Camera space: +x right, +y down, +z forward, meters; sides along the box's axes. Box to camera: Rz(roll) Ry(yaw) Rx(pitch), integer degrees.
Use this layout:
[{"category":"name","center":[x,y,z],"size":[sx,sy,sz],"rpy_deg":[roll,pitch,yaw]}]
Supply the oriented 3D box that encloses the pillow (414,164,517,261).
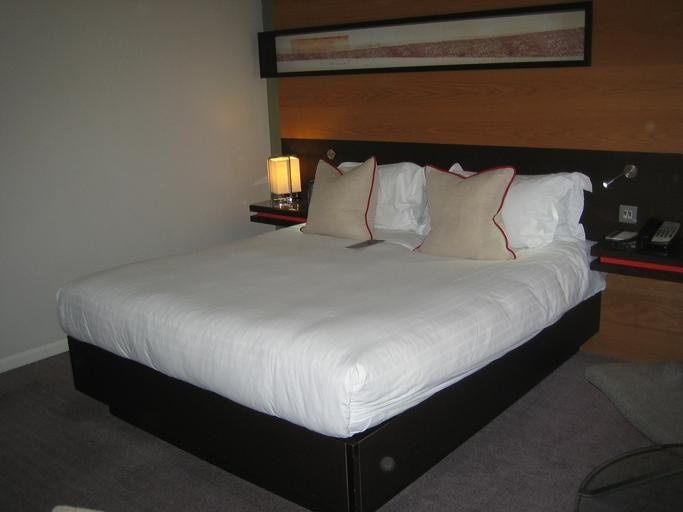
[{"category":"pillow","center":[0.816,-0.268,3.269],"size":[0.652,0.616,0.256],"rpy_deg":[0,-8,37]}]

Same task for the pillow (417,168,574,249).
[{"category":"pillow","center":[1.027,-0.300,3.276],"size":[0.533,0.575,0.234],"rpy_deg":[-1,-3,33]}]

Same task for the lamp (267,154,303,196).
[{"category":"lamp","center":[-0.526,-0.809,4.869],"size":[0.337,0.421,0.347],"rpy_deg":[10,21,36]}]
